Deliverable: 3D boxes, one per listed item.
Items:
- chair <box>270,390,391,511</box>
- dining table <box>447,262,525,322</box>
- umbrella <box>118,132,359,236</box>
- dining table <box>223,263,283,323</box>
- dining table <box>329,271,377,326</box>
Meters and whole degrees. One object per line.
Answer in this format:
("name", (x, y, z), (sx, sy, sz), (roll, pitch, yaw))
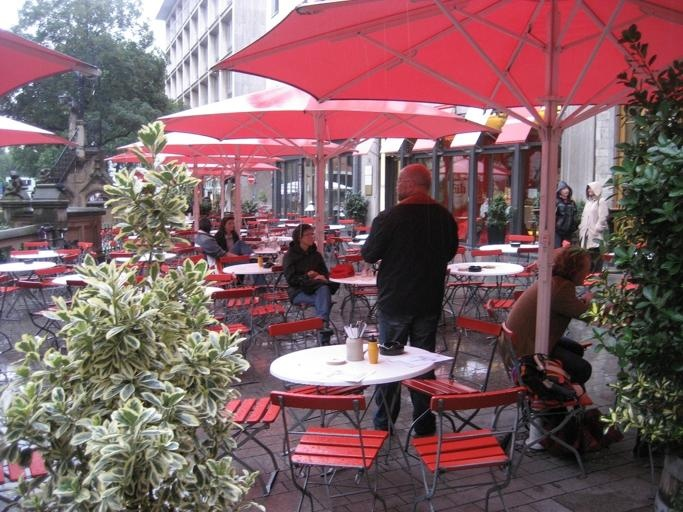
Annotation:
("chair", (-0.032, 1.411, 4.532), (0.816, 1.162, 1.602), (1, 6, 4))
("dining table", (2.398, 0.726, 9.657), (1.555, 0.771, 1.374), (0, 1, 2))
("umbrella", (-2.961, -1.302, 16.188), (6.296, 1.624, 5.259), (-1, 2, -13))
("dining table", (-1.631, 0.565, 10.174), (1.101, 0.560, 1.013), (-3, 10, -31))
("dining table", (0.293, 0.767, 10.091), (1.099, 0.551, 0.974), (-1, 3, -15))
